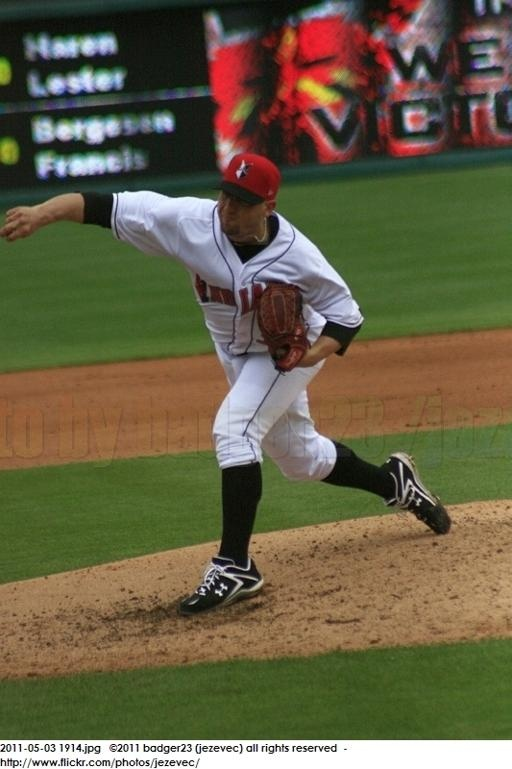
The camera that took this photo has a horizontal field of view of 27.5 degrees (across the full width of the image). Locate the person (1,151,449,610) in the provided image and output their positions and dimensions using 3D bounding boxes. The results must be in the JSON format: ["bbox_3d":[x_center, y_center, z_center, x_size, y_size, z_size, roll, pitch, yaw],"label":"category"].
[{"bbox_3d":[-0.020,-0.019,3.869,1.530,1.602,0.590,-5,10,-26],"label":"person"}]

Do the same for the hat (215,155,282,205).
[{"bbox_3d":[-0.024,-0.710,3.660,0.180,0.182,0.232,2,9,15],"label":"hat"}]

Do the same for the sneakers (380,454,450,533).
[{"bbox_3d":[0.661,0.469,4.351,0.153,0.295,0.105,-36,-12,-37],"label":"sneakers"}]

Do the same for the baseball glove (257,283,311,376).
[{"bbox_3d":[0.101,-0.189,3.598,0.202,0.277,0.128,2,-3,-18],"label":"baseball glove"}]
